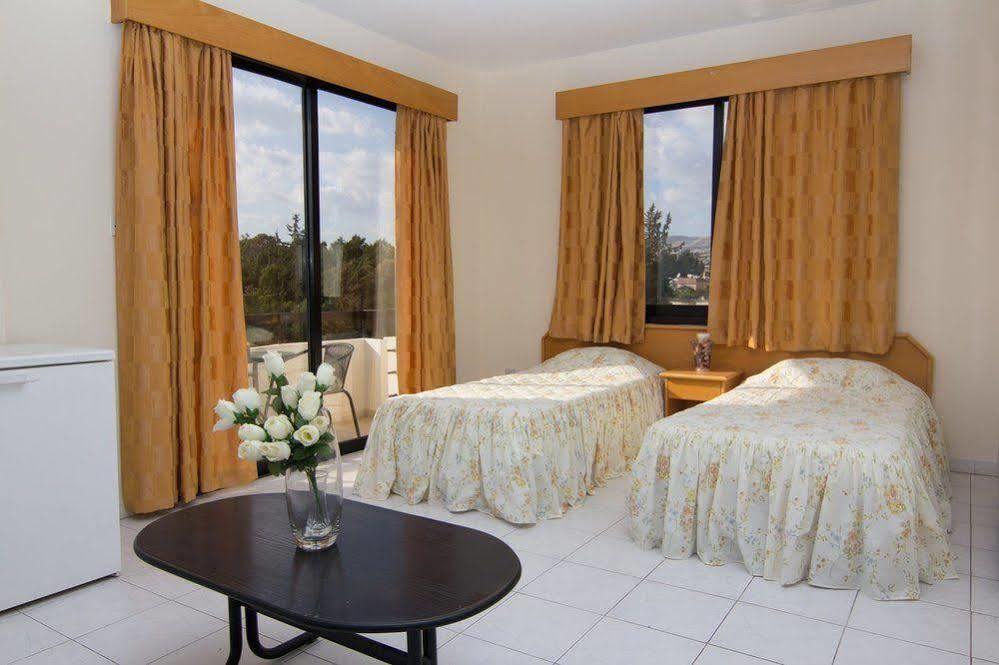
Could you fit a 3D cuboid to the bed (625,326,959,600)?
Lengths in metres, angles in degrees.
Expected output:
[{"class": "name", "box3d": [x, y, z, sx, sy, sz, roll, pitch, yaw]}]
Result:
[{"class": "bed", "box3d": [2.083, 0.641, 4.464, 1.502, 0.689, 2.012, 0, 9, 25]}]

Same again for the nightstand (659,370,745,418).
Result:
[{"class": "nightstand", "box3d": [1.589, 0.382, 5.471, 0.512, 0.469, 0.426, 2, 7, 34]}]

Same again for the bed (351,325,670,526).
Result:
[{"class": "bed", "box3d": [0.362, 0.649, 5.004, 1.082, 0.629, 1.776, 0, 1, 39]}]

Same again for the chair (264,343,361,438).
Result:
[{"class": "chair", "box3d": [-1.523, 0.514, 5.848, 0.736, 0.826, 0.637, -7, -11, 44]}]
